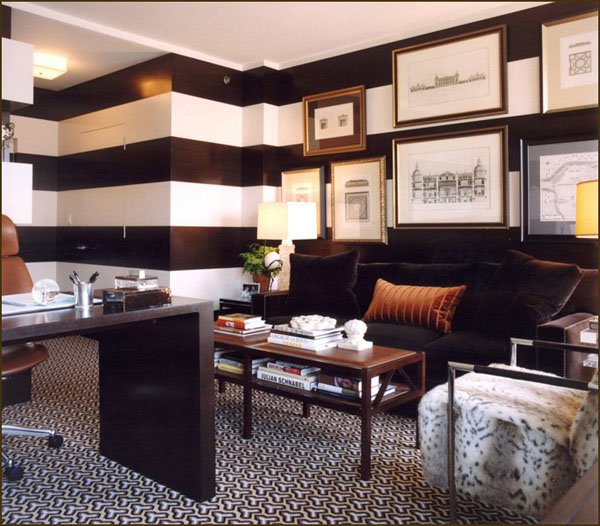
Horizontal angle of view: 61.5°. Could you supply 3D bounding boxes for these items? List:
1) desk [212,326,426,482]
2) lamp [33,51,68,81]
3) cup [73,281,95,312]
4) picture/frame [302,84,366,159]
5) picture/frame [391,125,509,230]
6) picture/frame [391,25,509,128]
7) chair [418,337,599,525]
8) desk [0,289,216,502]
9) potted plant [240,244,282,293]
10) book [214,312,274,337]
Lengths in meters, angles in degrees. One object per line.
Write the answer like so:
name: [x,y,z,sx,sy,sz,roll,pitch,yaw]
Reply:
desk: [0.098,0.739,2.960,1.109,0.556,0.583,4,6,35]
lamp: [-2.574,-2.044,5.226,0.315,0.130,0.559,-3,6,-28]
cup: [-0.936,0.147,2.187,0.107,0.107,0.070,3,6,25]
picture/frame: [0.360,-1.393,4.930,0.796,0.710,0.067,0,0,37]
picture/frame: [1.286,-0.717,4.192,0.910,0.760,0.070,1,3,37]
picture/frame: [1.279,-1.548,4.172,0.946,0.706,0.080,1,1,39]
chair: [1.022,0.882,2.355,0.683,0.949,0.925,0,0,25]
desk: [-0.965,0.548,2.525,1.201,1.147,0.822,5,6,44]
potted plant: [-0.363,0.039,5.154,0.428,0.557,0.503,3,-3,-16]
book: [-0.369,0.416,3.374,0.251,0.084,0.247,2,1,40]
